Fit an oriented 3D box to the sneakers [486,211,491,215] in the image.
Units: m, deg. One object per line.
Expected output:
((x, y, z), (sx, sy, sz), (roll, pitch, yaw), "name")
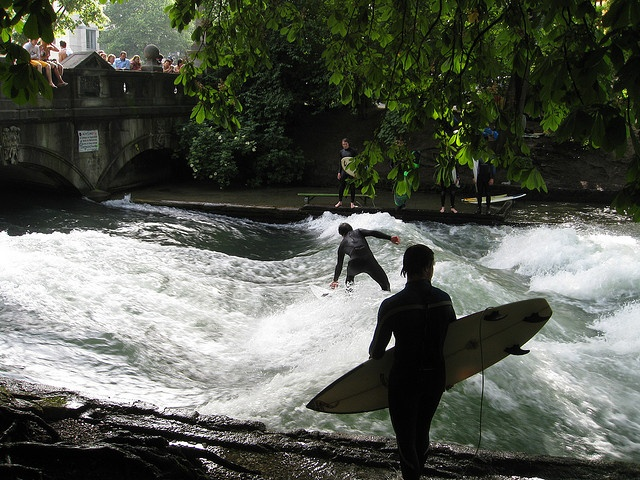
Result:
((4.682, -0.726, 17.490), (0.139, 0.050, 0.168), (4, -31, 5), "sneakers")

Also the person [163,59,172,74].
((-5.785, -6.503, 24.067), (0.357, 0.527, 1.108), (0, 8, -13), "person")

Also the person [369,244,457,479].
((0.870, 1.171, 6.002), (0.655, 2.241, 0.702), (8, 11, 36), "person")

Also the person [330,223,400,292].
((0.940, 0.391, 12.690), (0.695, 1.034, 1.376), (15, 42, -26), "person")

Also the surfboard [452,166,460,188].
((3.678, -1.642, 17.047), (0.167, 0.471, 0.984), (4, 8, 10), "surfboard")
